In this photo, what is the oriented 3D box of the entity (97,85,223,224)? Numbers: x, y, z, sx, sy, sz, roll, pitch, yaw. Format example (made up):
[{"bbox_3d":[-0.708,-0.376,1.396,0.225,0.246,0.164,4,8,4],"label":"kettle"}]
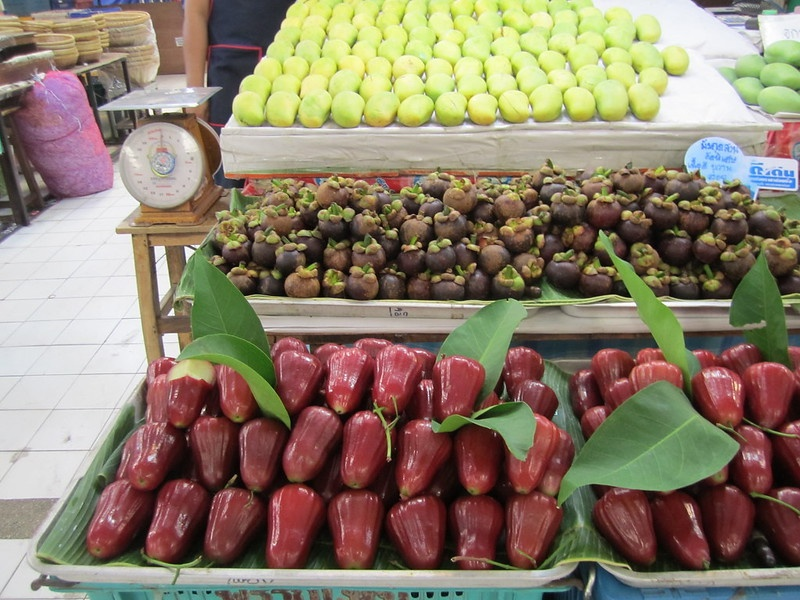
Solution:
[{"bbox_3d":[-0.919,-0.691,2.813,0.526,0.689,0.628,-1,18,-2],"label":"entity"}]
